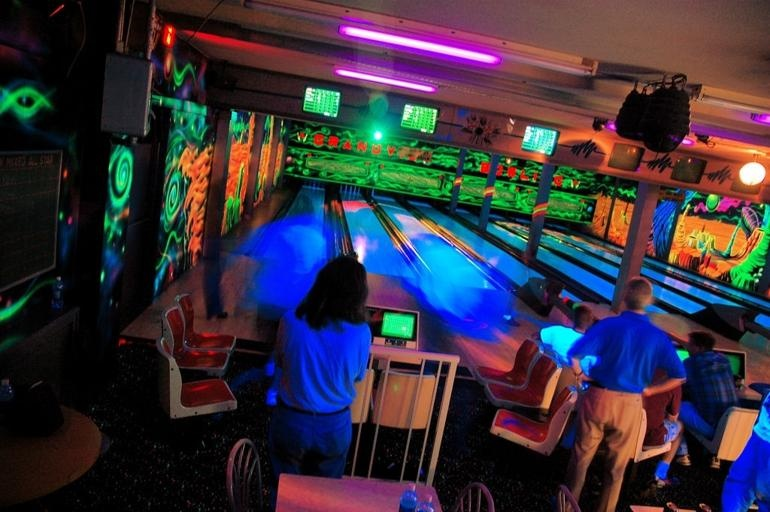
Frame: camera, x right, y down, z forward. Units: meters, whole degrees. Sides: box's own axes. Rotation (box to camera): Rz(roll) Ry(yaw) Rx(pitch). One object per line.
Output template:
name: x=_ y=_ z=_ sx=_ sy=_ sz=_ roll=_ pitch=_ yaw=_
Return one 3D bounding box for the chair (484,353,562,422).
chair: x=1.167 y=1.038 z=4.122 sx=0.615 sy=0.462 sz=0.404 roll=1 pitch=4 yaw=-9

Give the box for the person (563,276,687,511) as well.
person: x=1.537 y=0.963 z=3.397 sx=0.717 sy=1.666 sz=0.246 roll=5 pitch=14 yaw=-10

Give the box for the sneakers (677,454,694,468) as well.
sneakers: x=2.462 y=1.668 z=4.184 sx=0.064 sy=0.066 sz=0.160 roll=-2 pitch=-13 yaw=2

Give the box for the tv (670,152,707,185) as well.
tv: x=4.149 y=-1.140 z=7.004 sx=0.480 sy=0.361 sz=0.053 roll=5 pitch=14 yaw=-12

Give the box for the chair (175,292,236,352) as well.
chair: x=-1.547 y=0.562 z=4.426 sx=0.565 sy=0.548 sz=0.356 roll=1 pitch=4 yaw=-10

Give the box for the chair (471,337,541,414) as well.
chair: x=1.123 y=0.941 z=4.385 sx=0.561 sy=0.471 sz=0.417 roll=10 pitch=7 yaw=-15

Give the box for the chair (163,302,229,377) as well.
chair: x=-1.513 y=0.634 z=4.164 sx=0.588 sy=0.663 sz=0.472 roll=0 pitch=11 yaw=-10

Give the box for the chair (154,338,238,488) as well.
chair: x=-1.310 y=0.805 z=3.541 sx=0.508 sy=0.528 sz=0.330 roll=2 pitch=15 yaw=-24

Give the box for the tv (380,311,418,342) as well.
tv: x=0.107 y=0.588 z=4.278 sx=0.405 sy=0.277 sz=0.213 roll=4 pitch=-15 yaw=-8

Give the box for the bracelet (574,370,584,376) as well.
bracelet: x=1.278 y=0.774 z=3.372 sx=0.035 sy=0.035 sz=0.035 roll=3 pitch=3 yaw=2
